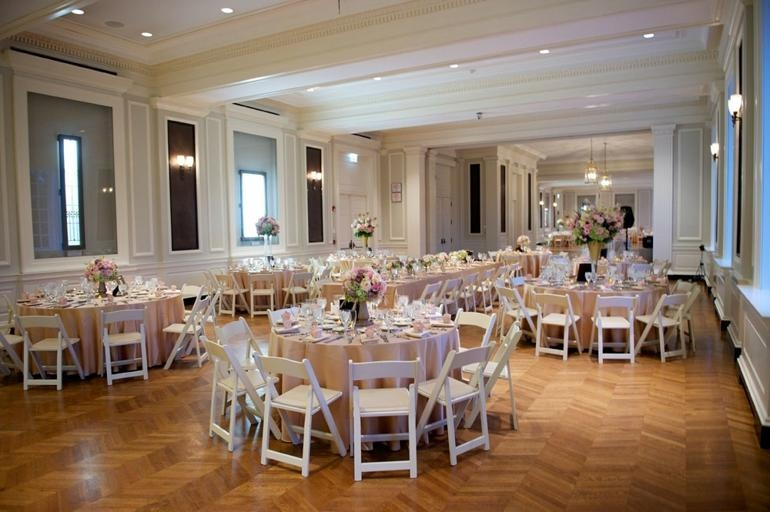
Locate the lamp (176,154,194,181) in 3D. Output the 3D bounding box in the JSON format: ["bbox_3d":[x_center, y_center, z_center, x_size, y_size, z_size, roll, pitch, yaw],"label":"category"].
[{"bbox_3d":[-4.314,-1.930,11.110,0.126,0.528,0.473,7,16,28],"label":"lamp"}]

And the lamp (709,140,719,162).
[{"bbox_3d":[7.101,-2.237,10.968,0.134,0.407,0.839,9,17,34],"label":"lamp"}]

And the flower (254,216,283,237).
[{"bbox_3d":[-2.611,-0.648,11.533,0.448,0.443,0.495,-1,0,11],"label":"flower"}]

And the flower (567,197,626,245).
[{"bbox_3d":[3.514,-0.511,8.609,0.688,0.716,0.663,-18,29,-13],"label":"flower"}]
